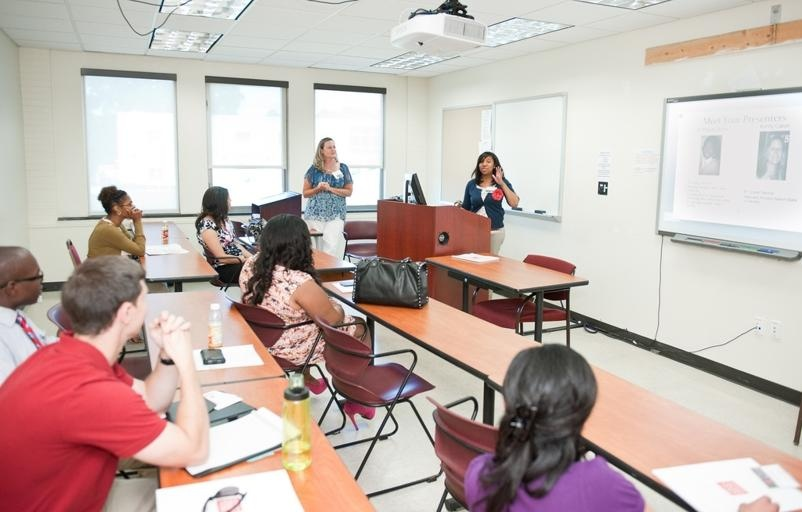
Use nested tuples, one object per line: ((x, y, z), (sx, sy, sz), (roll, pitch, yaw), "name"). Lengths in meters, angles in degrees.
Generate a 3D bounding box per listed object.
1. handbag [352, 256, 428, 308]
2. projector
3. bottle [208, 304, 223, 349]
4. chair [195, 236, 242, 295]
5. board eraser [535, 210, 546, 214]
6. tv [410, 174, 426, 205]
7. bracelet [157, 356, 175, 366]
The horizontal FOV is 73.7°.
((-0.064, 0.205, 4.354), (0.792, 0.497, 0.350), (2, -6, 14), "handbag")
((0.241, -1.770, 4.293), (0.436, 0.148, 0.407), (4, -3, -41), "projector")
((-1.176, 0.416, 3.358), (0.092, 0.307, 0.256), (-5, 14, -20), "bottle")
((-2.106, 0.096, 6.246), (0.553, 0.735, 0.471), (-10, 19, -20), "chair")
((1.848, -0.596, 7.097), (0.037, 0.065, 0.183), (-6, 14, -22), "board eraser")
((0.199, -0.795, 6.457), (0.089, 0.321, 0.372), (-19, 36, -1), "tv")
((-1.159, 0.523, 2.651), (0.084, 0.032, 0.063), (7, 0, -21), "bracelet")
